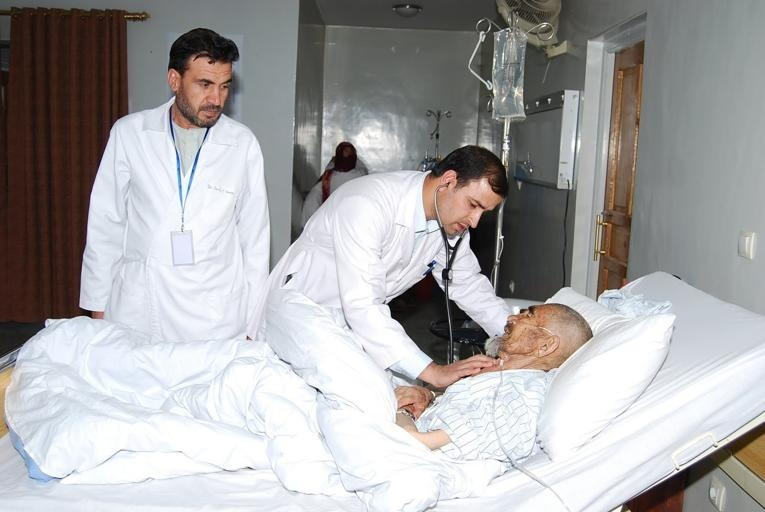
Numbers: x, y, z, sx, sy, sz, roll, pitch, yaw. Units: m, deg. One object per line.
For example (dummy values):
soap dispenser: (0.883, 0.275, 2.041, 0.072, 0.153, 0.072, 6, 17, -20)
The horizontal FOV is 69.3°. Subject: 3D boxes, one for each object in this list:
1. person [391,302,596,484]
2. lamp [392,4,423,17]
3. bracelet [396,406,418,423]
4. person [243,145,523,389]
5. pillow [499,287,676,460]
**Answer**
person: (0.483, 0.526, 2.227, 0.730, 0.289, 0.570, -31, 16, -1)
lamp: (0.282, -2.770, 6.243, 0.339, 0.085, 0.413, 4, 14, 1)
bracelet: (0.102, 0.641, 2.252, 0.071, 0.026, 0.052, 40, 11, 6)
person: (0.085, -0.005, 2.530, 1.198, 1.022, 0.920, 6, 3, 27)
pillow: (0.801, 0.445, 2.100, 0.174, 0.548, 0.567, 35, -2, -15)
